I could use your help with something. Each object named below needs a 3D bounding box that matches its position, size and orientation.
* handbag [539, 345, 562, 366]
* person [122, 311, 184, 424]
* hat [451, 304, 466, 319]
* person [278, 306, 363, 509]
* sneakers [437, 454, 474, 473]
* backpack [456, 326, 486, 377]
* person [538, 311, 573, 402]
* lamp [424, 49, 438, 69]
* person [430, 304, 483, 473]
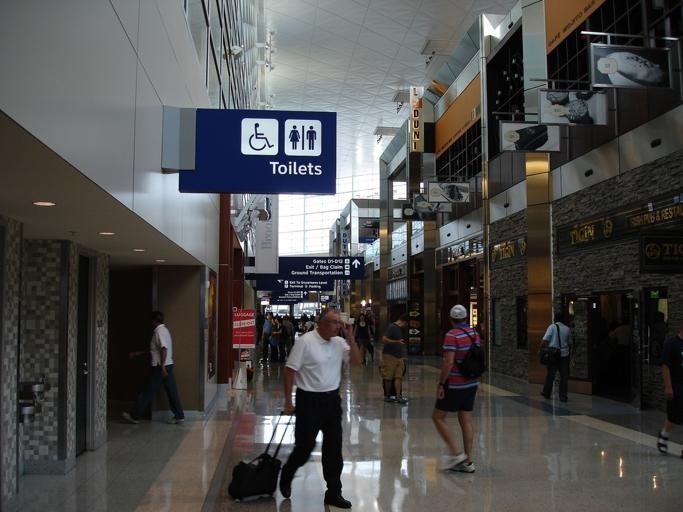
[{"bbox_3d":[4.438,2.092,12.100,0.463,0.507,0.334,0,-9,21],"label":"handbag"},{"bbox_3d":[-3.318,1.973,10.234,0.992,1.995,0.954,1,-4,-22],"label":"person"},{"bbox_3d":[1.480,0.691,7.199,0.145,0.120,0.214,1,17,10],"label":"hat"},{"bbox_3d":[-0.226,1.572,6.044,0.839,2.052,0.623,0,-4,-7],"label":"person"},{"bbox_3d":[1.427,2.552,7.139,0.472,0.236,0.189,1,3,10],"label":"sneakers"},{"bbox_3d":[1.601,1.213,7.051,0.306,0.606,0.276,-1,-4,12],"label":"backpack"},{"bbox_3d":[4.667,2.149,12.374,0.658,1.850,0.805,-2,-4,21],"label":"person"},{"bbox_3d":[4.597,-10.084,29.195,0.168,0.683,0.669,-31,30,-32],"label":"lamp"},{"bbox_3d":[1.477,1.632,7.178,0.538,2.016,0.671,5,-9,-5],"label":"person"}]
